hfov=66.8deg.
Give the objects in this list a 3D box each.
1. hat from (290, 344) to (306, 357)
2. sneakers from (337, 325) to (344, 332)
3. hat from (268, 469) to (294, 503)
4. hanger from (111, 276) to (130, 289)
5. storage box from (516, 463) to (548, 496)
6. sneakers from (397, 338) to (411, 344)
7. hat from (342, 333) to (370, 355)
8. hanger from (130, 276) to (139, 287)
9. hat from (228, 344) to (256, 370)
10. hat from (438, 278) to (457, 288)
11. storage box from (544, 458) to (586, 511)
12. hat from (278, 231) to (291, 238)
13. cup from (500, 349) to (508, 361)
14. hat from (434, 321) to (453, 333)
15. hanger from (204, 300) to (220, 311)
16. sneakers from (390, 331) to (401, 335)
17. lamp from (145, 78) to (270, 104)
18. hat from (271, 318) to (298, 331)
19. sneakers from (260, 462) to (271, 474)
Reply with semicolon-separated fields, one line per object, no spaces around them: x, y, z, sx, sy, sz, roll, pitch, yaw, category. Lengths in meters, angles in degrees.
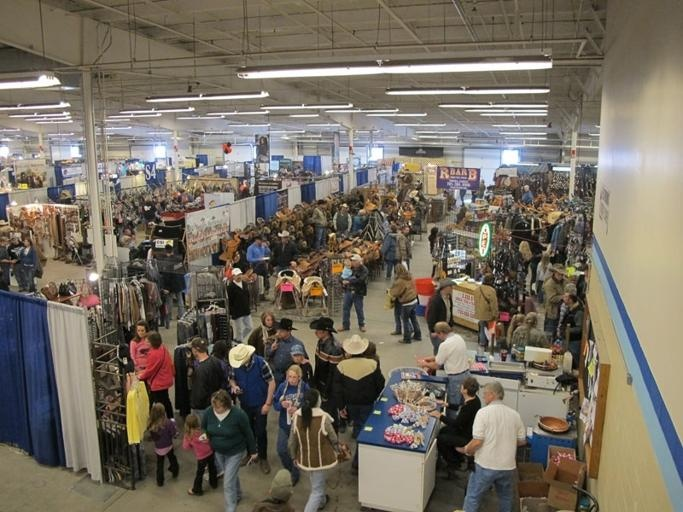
-0.552;1.211;6.558;0.160;0.179;0.297;0;9;-4;hat
-0.014;1.530;10.822;0.155;0.069;0.076;4;6;-1;sneakers
-0.550;2.063;4.645;0.195;0.295;0.228;-1;9;-10;hat
-4.073;0.496;9.479;0.240;0.109;0.194;0;8;-8;hanger
2.176;2.537;5.858;0.320;0.279;0.453;4;9;18;storage box
1.277;1.685;10.258;0.227;0.108;0.109;6;12;4;sneakers
0.208;1.166;6.584;0.258;0.117;0.313;3;22;11;hat
-3.912;0.495;9.734;0.124;0.171;0.257;6;0;-18;hanger
-1.264;1.301;6.525;0.291;0.344;0.342;-1;9;-11;hat
1.862;0.512;9.126;0.192;0.066;0.186;-9;6;23;hat
2.459;2.480;5.623;0.363;0.353;0.466;-1;10;22;storage box
-1.470;-0.555;13.393;0.244;0.108;0.286;2;-8;-2;hat
2.397;1.466;7.632;0.109;0.167;0.115;1;8;0;cup
1.355;0.978;6.946;0.150;0.187;0.207;-12;-8;-21;hat
-2.125;0.843;8.593;0.189;0.047;0.182;4;15;18;hanger
1.128;1.587;10.647;0.203;0.094;0.071;3;6;-3;sneakers
-4.260;-5.187;16.090;3.479;0.173;0.489;0;25;22;lamp
-0.749;0.919;6.865;0.306;0.126;0.257;9;7;-28;hat
-0.981;2.734;6.656;0.068;0.138;0.204;-1;-1;-26;sneakers
